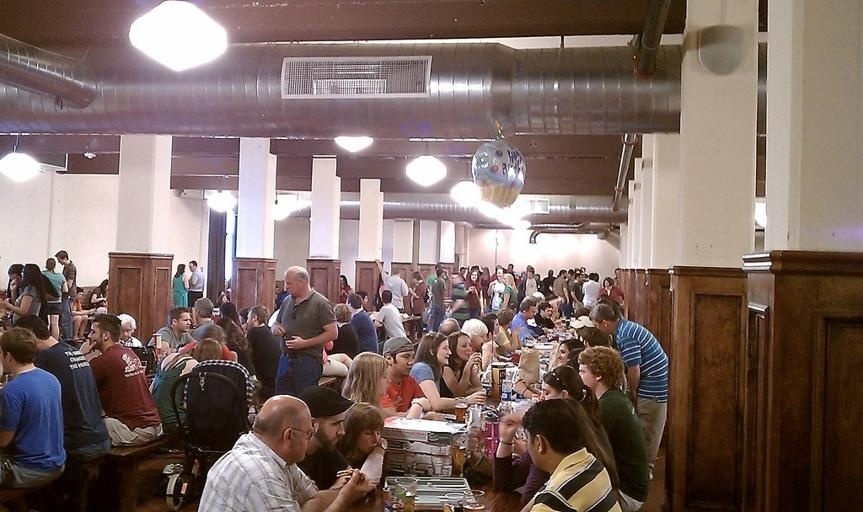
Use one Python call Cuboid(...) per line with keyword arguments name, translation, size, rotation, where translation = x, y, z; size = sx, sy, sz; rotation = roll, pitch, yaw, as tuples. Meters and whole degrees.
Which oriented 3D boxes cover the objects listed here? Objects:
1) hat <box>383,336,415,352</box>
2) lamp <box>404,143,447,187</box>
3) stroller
Cuboid(name="hat", translation=(-0.323, 0.868, 6.158), size=(0.181, 0.106, 0.231), rotation=(8, -16, -43))
Cuboid(name="lamp", translation=(-0.046, -1.330, 9.450), size=(0.492, 0.446, 0.626), rotation=(2, -3, 9))
Cuboid(name="stroller", translation=(-2.132, 1.694, 6.037), size=(0.804, 1.410, 0.722), rotation=(3, -3, -16))
